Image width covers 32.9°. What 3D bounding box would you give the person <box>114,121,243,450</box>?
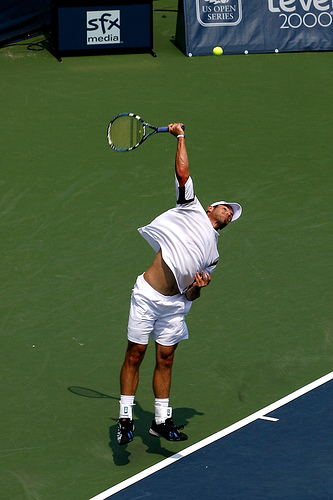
[{"bbox_3d":[0.077,0.335,4.470,0.763,2.381,1.125,4,17,9],"label":"person"}]

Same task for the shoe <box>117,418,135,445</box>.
[{"bbox_3d":[-0.320,1.421,4.355,0.129,0.219,0.143,-1,17,-6],"label":"shoe"}]

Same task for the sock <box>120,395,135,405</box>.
[{"bbox_3d":[-0.312,1.198,4.499,0.077,0.056,0.081,6,-16,-6],"label":"sock"}]

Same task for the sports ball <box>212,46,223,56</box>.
[{"bbox_3d":[1.221,-4.833,13.645,0.256,0.174,0.186,-3,20,-20],"label":"sports ball"}]

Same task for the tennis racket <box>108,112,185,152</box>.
[{"bbox_3d":[-0.180,-1.158,5.476,0.892,0.337,0.067,-13,26,-30],"label":"tennis racket"}]
